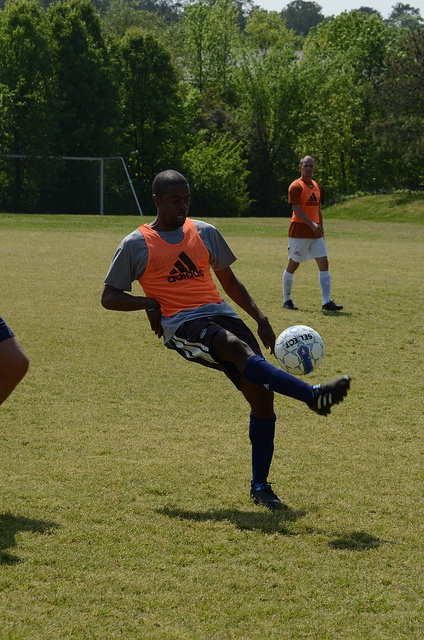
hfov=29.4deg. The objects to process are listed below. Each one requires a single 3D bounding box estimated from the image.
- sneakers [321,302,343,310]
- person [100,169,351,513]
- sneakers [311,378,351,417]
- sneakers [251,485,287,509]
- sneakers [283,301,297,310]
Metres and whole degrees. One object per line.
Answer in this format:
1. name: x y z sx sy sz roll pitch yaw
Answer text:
1. sneakers: 1.435 -0.182 9.579 0.250 0.108 0.092 0 4 39
2. person: 0.109 0.056 4.426 1.332 1.678 0.721 12 15 33
3. sneakers: 0.539 0.353 3.868 0.135 0.091 0.267 31 -50 -29
4. sneakers: 0.304 0.916 4.248 0.077 0.081 0.193 -1 3 -33
5. sneakers: 0.942 -0.196 9.570 0.073 0.079 0.195 -4 3 -28
